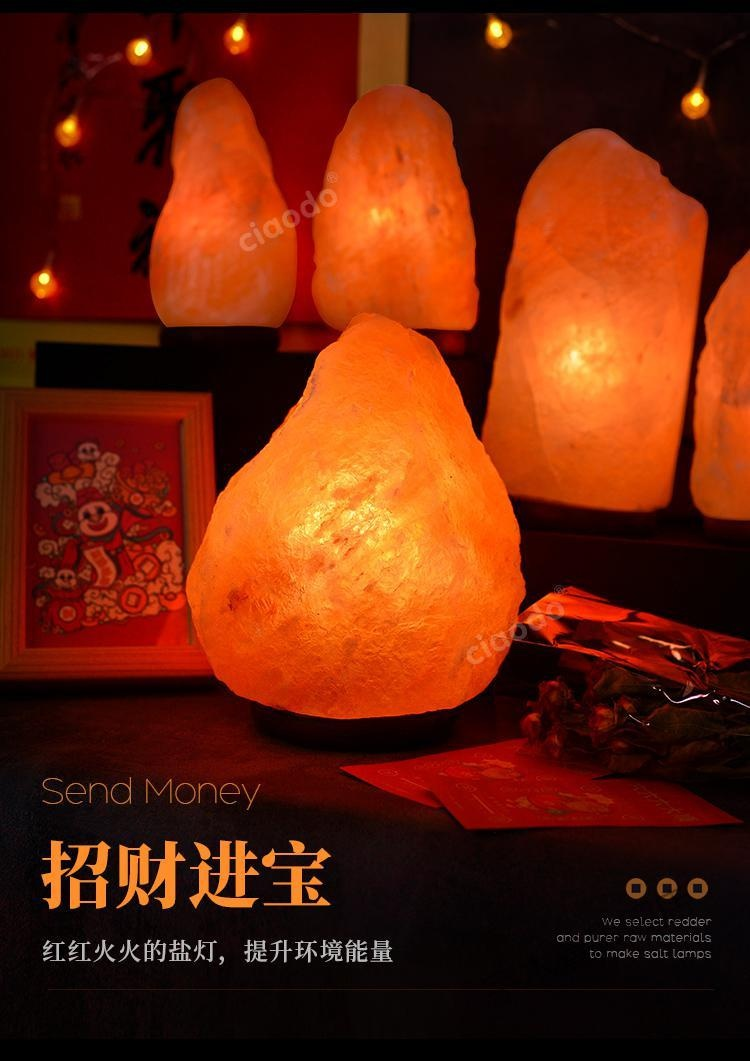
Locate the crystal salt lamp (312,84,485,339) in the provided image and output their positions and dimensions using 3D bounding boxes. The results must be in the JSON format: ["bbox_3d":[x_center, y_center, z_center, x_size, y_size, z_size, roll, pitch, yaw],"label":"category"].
[{"bbox_3d":[0.023,-0.293,0.880,0.148,0.197,0.131,23,36,40],"label":"crystal salt lamp"}]

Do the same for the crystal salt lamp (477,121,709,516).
[{"bbox_3d":[0.192,-0.173,0.842,0.166,0.213,0.255,8,59,3],"label":"crystal salt lamp"}]

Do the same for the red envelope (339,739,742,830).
[{"bbox_3d":[0.119,0.192,0.750,0.289,0.098,0.094,-1,60,-3],"label":"red envelope"}]

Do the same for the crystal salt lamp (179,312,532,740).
[{"bbox_3d":[-0.001,0.010,0.869,0.315,0.293,0.312,2,88,-1],"label":"crystal salt lamp"}]

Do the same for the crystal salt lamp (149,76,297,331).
[{"bbox_3d":[-0.136,-0.294,0.872,0.142,0.197,0.129,-3,23,-3],"label":"crystal salt lamp"}]
